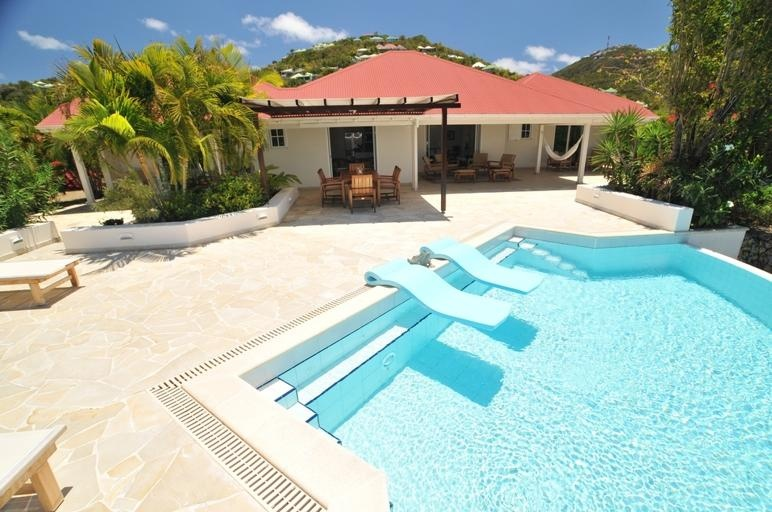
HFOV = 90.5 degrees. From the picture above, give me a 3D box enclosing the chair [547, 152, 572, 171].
[{"bbox_3d":[9.866,-5.261,21.510,1.554,0.735,1.603,3,16,10],"label":"chair"}]
